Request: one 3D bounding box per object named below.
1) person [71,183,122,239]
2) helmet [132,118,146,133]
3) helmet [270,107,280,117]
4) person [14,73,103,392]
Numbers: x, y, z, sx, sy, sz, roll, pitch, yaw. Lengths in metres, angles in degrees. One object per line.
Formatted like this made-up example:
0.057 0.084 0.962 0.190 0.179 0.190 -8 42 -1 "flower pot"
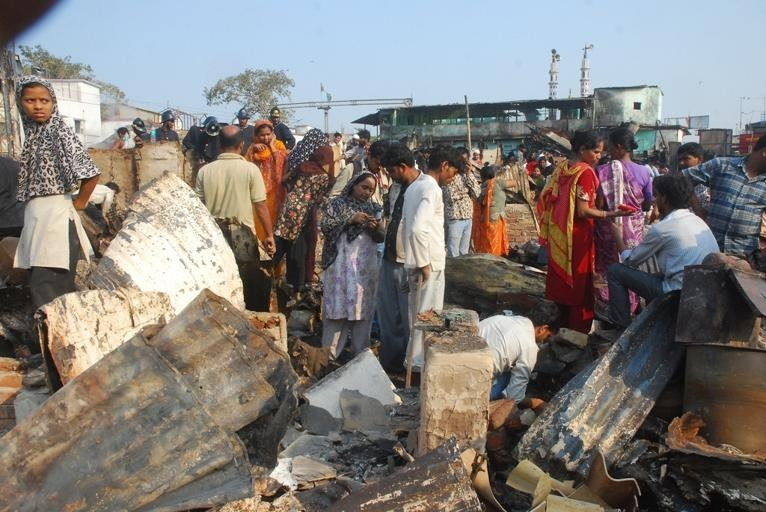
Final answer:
-3.573 -0.555 9.820 0.287 0.334 0.908 -16 41 24 "person"
-3.951 -2.149 12.684 0.186 0.112 0.588 3 1 -8 "helmet"
-1.480 -1.997 10.751 0.104 0.114 0.145 -2 -32 -18 "helmet"
-2.579 -0.525 6.179 0.650 1.764 0.552 -10 15 -36 "person"
